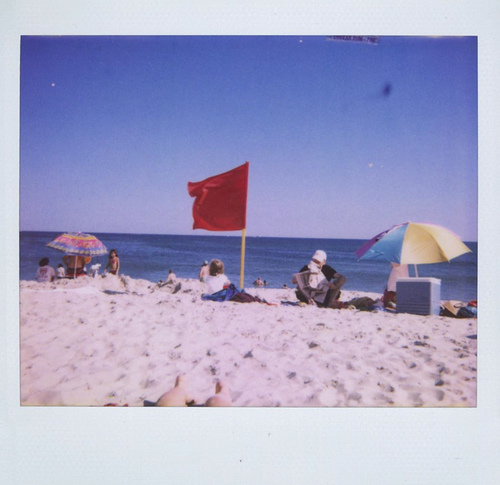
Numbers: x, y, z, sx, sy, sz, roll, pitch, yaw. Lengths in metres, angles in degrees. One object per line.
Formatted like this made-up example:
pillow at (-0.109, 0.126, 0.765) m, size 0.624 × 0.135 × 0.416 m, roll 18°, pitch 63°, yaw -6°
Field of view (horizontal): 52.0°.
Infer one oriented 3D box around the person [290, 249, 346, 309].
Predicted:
person at (1.300, 0.659, 9.186) m, size 0.855 × 1.304 × 0.839 m, roll 2°, pitch 4°, yaw 35°

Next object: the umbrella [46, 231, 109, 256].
umbrella at (-3.529, 0.103, 10.580) m, size 1.046 × 0.523 × 0.661 m, roll -1°, pitch 15°, yaw -9°

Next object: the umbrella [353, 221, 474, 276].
umbrella at (2.703, 0.101, 8.545) m, size 1.653 × 0.773 × 0.685 m, roll 8°, pitch 16°, yaw 24°

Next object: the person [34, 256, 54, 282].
person at (-4.076, 0.518, 10.151) m, size 0.349 × 0.436 × 0.794 m, roll -5°, pitch 16°, yaw -22°

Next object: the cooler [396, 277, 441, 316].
cooler at (2.799, 0.852, 8.516) m, size 0.631 × 0.844 × 0.535 m, roll -1°, pitch -6°, yaw 30°

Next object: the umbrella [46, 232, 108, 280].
umbrella at (-3.664, 0.369, 10.835) m, size 1.209 × 1.214 × 1.340 m, roll 5°, pitch -1°, yaw 20°

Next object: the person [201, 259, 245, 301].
person at (-0.520, 0.628, 8.980) m, size 0.690 × 0.680 × 0.672 m, roll 0°, pitch 14°, yaw -2°
